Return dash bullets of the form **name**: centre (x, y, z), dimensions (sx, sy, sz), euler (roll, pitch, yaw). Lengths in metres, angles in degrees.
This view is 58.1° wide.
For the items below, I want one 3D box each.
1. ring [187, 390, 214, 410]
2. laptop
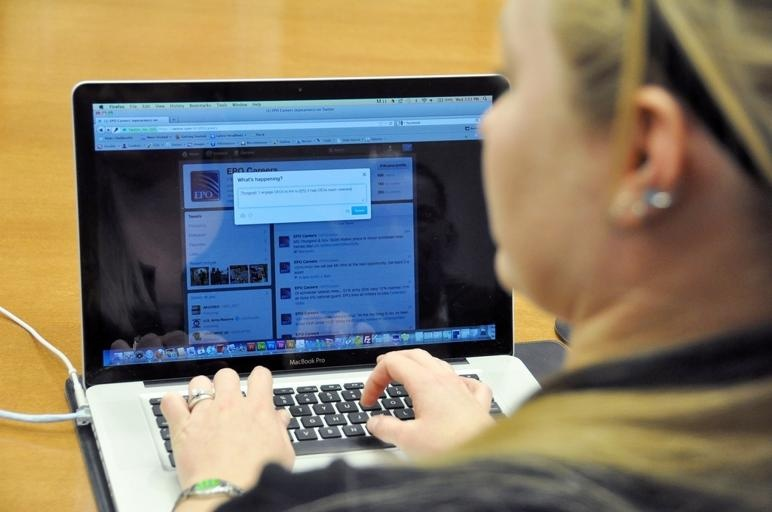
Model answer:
- **ring**: centre (-0.205, 0.154, 0.758), dimensions (0.019, 0.023, 0.013), euler (-1, 55, -9)
- **laptop**: centre (-0.128, 0.028, 0.981), dimensions (0.599, 0.466, 0.431), euler (-3, 107, -12)
